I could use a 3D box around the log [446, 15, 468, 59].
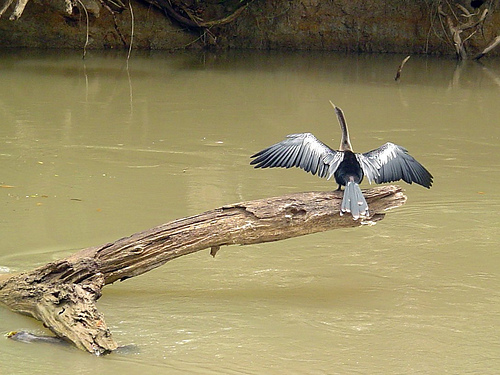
[{"bbox_3d":[5.292,-3.922,20.040,0.476,1.151,0.215,-19,20,-7],"label":"log"}]

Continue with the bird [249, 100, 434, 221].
[{"bbox_3d":[0.961,-0.322,8.493,1.555,0.535,1.172,9,21,-16],"label":"bird"}]
